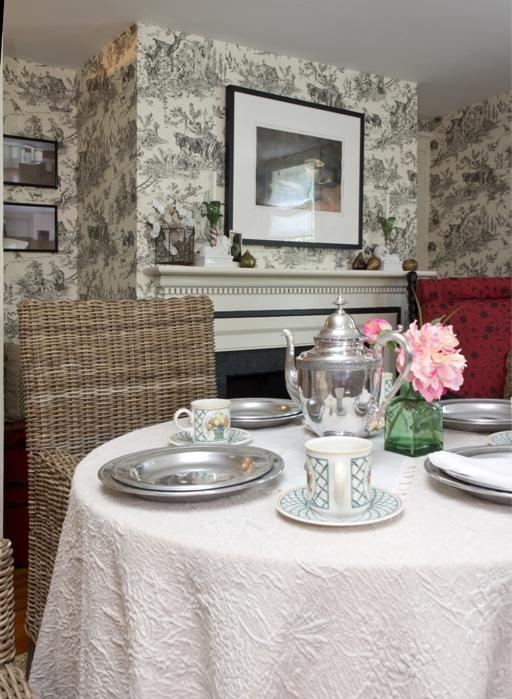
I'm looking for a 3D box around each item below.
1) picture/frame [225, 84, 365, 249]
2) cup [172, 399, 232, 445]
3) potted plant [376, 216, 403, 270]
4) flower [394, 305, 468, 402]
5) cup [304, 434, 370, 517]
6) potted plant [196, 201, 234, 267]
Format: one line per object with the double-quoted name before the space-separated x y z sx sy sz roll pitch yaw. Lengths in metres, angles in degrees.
"picture/frame" 0.188 -1.026 3.232 1.069 0.875 0.038 -3 5 -33
"cup" -0.095 0.123 1.000 0.099 0.067 0.061 -2 2 -12
"potted plant" 0.834 -0.666 3.620 0.142 0.361 0.251 0 6 11
"flower" 0.271 0.020 0.910 0.103 0.118 0.098 -2 6 -8
"cup" 0.086 0.126 0.607 0.065 0.059 0.082 0 6 8
"potted plant" -0.213 -0.586 2.943 0.191 0.341 0.287 -2 6 -8
